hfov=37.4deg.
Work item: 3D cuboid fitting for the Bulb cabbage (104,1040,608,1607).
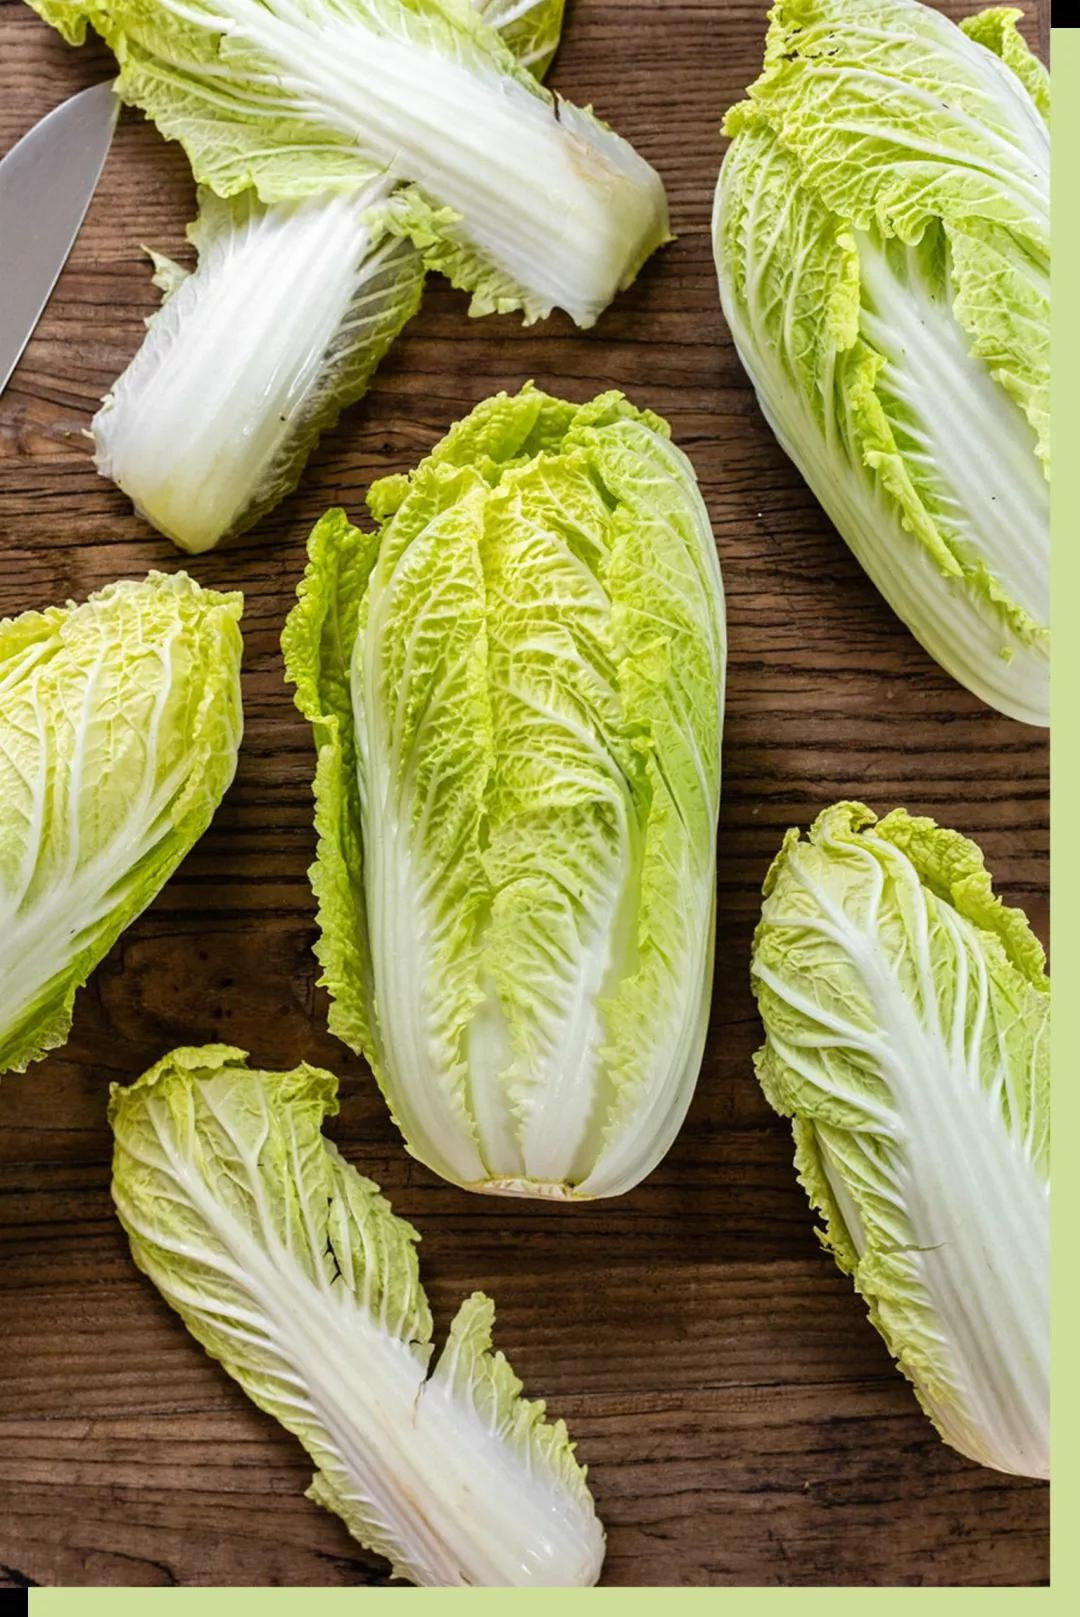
[{"bbox_3d":[-0.299,0.631,2.045,0.826,0.248,0.399,45,60,10],"label":"Bulb cabbage"}]

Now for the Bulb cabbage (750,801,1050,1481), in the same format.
[{"bbox_3d":[0.418,0.366,1.921,0.301,0.428,0.721,-17,69,-3],"label":"Bulb cabbage"}]

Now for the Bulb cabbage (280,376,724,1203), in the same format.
[{"bbox_3d":[-0.020,-0.003,1.979,0.576,0.369,0.909,2,88,4],"label":"Bulb cabbage"}]
